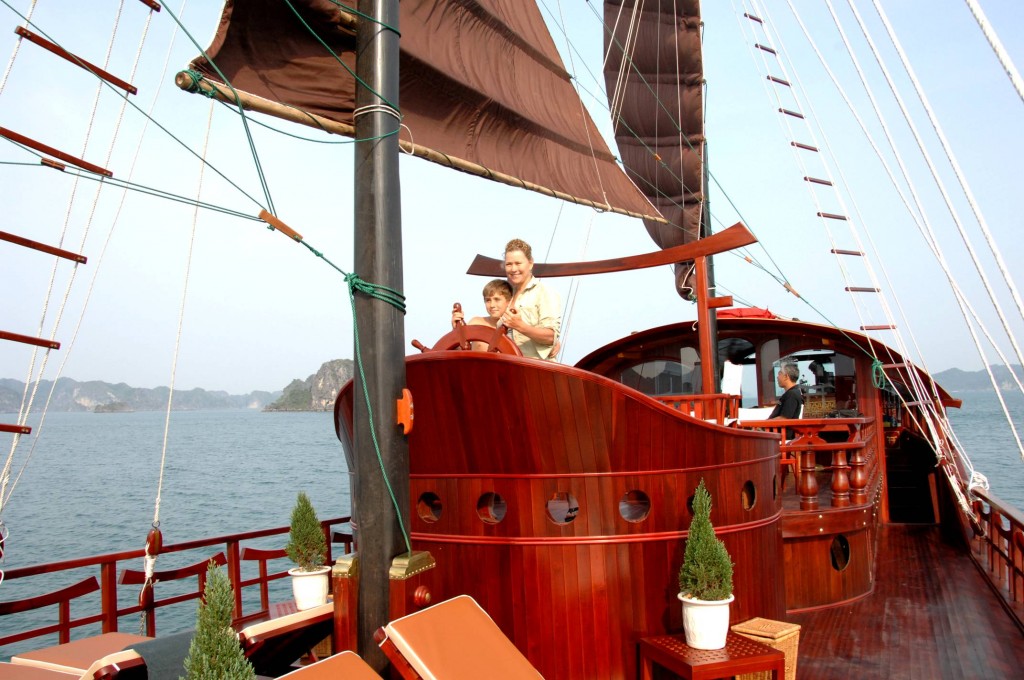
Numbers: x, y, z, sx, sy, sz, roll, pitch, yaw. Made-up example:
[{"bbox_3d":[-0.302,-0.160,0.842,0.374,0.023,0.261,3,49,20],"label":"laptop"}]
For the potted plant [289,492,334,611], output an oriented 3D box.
[{"bbox_3d":[-2.171,2.199,7.351,0.472,1.141,0.473,-12,-12,13],"label":"potted plant"}]
